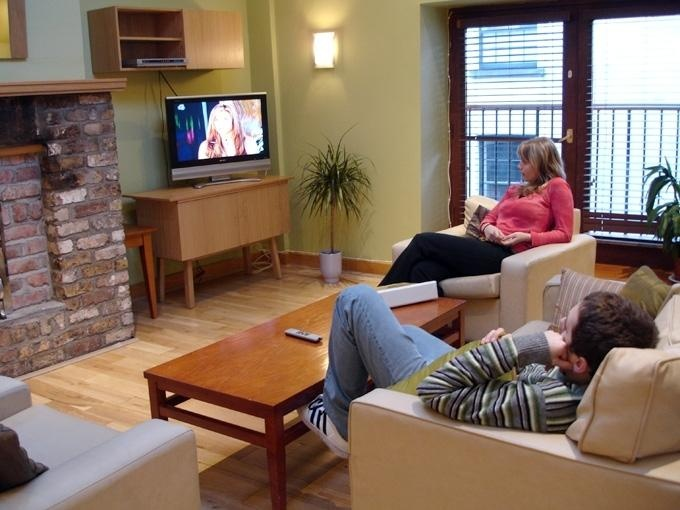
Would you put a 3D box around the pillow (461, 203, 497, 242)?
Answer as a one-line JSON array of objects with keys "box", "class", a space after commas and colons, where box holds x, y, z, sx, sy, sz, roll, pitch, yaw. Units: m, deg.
[{"box": [1.033, -0.246, 4.009, 0.069, 0.232, 0.230, 16, 10, -27], "class": "pillow"}]

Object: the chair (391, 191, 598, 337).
[{"box": [1.180, 0.025, 3.676, 0.921, 0.814, 0.756, 4, 12, 43], "class": "chair"}]

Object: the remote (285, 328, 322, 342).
[{"box": [-0.185, 0.389, 2.674, 0.215, 0.032, 0.065, 11, 20, 36], "class": "remote"}]

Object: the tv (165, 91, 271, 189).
[{"box": [-1.174, -1.079, 4.991, 0.895, 0.679, 0.089, -12, 16, -40], "class": "tv"}]

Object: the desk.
[{"box": [-1.227, -0.134, 4.845, 0.398, 0.709, 1.073, 10, 20, 32], "class": "desk"}]

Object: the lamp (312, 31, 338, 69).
[{"box": [-0.156, -1.984, 5.190, 0.257, 0.331, 0.076, 6, 14, 24], "class": "lamp"}]

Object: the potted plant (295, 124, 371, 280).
[{"box": [-0.143, -0.508, 5.329, 0.743, 1.437, 0.520, 12, 17, 41], "class": "potted plant"}]

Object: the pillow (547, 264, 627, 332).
[{"box": [1.137, 0.144, 2.595, 0.345, 0.373, 0.162, 12, -14, 40], "class": "pillow"}]

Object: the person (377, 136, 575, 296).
[{"box": [0.901, -0.262, 3.832, 1.478, 0.983, 0.739, -8, 6, -6], "class": "person"}]
